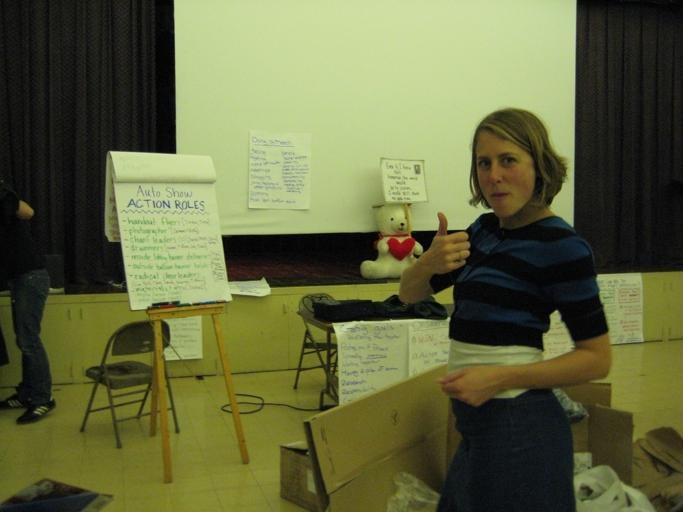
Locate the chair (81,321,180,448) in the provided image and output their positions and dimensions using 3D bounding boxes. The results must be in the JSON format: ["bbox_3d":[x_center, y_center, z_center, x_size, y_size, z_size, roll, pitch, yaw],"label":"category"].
[{"bbox_3d":[-1.562,0.864,4.301,0.658,0.834,0.684,-2,1,-28],"label":"chair"}]

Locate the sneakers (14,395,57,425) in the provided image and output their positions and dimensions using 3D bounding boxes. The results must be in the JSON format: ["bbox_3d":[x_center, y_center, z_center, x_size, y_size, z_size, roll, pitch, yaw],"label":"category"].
[{"bbox_3d":[-2.305,1.179,4.418,0.106,0.100,0.246,2,5,28],"label":"sneakers"}]
